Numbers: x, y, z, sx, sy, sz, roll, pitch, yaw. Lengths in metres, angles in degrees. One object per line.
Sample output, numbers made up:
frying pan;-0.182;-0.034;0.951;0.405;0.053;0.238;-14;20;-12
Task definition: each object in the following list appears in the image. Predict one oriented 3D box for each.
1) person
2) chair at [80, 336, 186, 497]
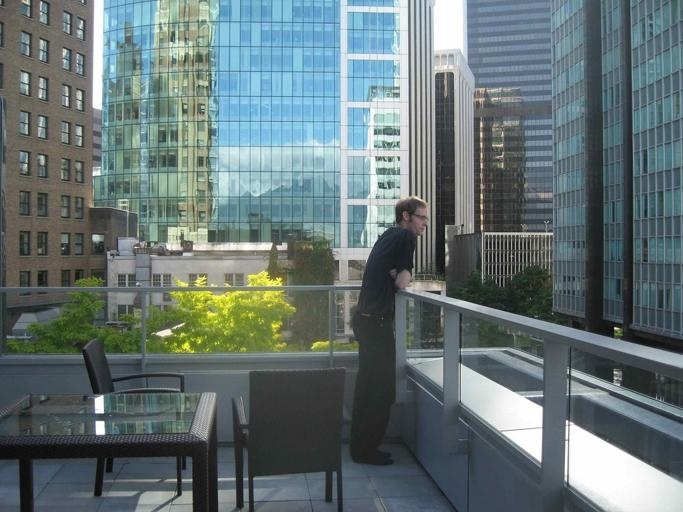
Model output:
person;0.378;0.691;6.159;0.770;2.355;0.421;-3;3;7
chair;-1.671;1.357;5.926;0.881;1.249;0.819;0;2;-29
